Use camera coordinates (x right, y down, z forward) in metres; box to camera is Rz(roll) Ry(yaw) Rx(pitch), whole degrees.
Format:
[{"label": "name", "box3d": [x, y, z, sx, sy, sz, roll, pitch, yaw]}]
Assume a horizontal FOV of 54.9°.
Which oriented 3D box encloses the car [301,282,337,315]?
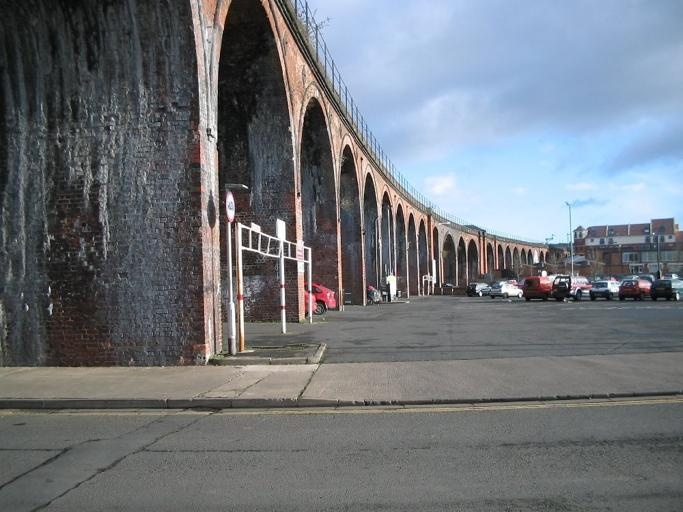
[{"label": "car", "box3d": [-1.036, 1.934, 29.900, 1.446, 0.787, 0.847, 2, -2, 1]}]
